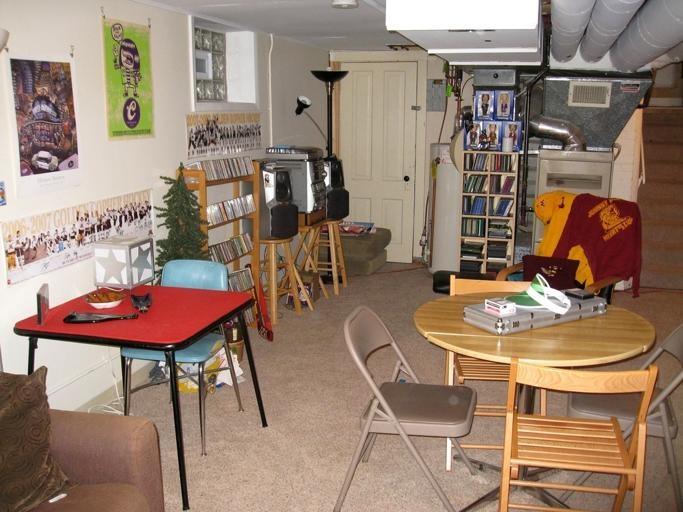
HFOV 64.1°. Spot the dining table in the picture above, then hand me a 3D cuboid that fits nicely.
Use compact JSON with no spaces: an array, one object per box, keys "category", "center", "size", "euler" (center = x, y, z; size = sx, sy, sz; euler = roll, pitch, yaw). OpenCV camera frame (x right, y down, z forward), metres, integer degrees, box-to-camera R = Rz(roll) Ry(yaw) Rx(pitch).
[{"category":"dining table","center":[-1.229,0.869,3.523],"size":[1.251,0.961,1.183],"euler":[5,14,12]}]

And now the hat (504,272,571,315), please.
[{"category":"hat","center":[1.147,0.213,3.105],"size":[0.213,0.107,0.170],"euler":[12,17,34]}]

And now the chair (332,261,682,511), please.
[{"category":"chair","center":[0.616,0.523,3.335],"size":[1.136,0.989,1.452],"euler":[1,21,5]}]

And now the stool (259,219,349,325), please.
[{"category":"stool","center":[-0.432,0.202,5.989],"size":[0.339,0.602,1.071],"euler":[2,11,17]}]

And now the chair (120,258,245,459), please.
[{"category":"chair","center":[-1.112,0.619,3.656],"size":[0.642,1.071,0.709],"euler":[1,9,19]}]

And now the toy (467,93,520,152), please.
[{"category":"toy","center":[1.744,-1.521,6.217],"size":[0.616,0.703,0.220],"euler":[3,12,15]}]

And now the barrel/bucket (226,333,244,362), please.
[{"category":"barrel/bucket","center":[-0.870,0.759,4.489],"size":[0.183,0.203,0.189],"euler":[0,12,0]}]

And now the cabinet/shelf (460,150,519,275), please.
[{"category":"cabinet/shelf","center":[1.683,-0.500,6.259],"size":[0.599,1.384,0.204],"euler":[2,14,13]}]
